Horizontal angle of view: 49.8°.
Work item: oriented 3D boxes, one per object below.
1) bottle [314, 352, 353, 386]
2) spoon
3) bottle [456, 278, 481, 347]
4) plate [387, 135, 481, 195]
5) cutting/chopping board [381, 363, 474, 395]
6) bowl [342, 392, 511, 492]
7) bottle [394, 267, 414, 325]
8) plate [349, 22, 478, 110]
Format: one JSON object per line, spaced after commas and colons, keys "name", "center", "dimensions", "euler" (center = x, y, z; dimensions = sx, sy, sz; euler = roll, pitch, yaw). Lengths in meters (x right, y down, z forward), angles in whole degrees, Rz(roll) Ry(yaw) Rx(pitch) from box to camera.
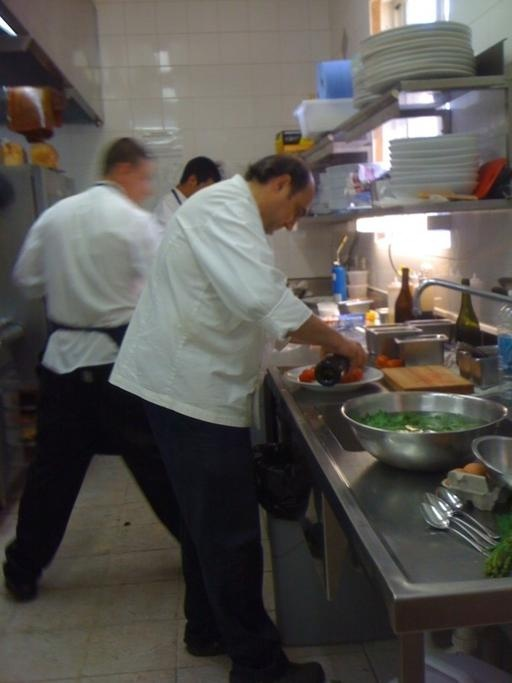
{"name": "bottle", "center": [0.206, 0.072, 1.442], "dimensions": [0.060, 0.056, 0.096], "euler": [29, 10, 14]}
{"name": "spoon", "center": [0.280, 0.243, 0.751], "dimensions": [0.076, 0.028, 0.180], "euler": [-5, 5, -9]}
{"name": "bottle", "center": [0.672, -0.092, 1.765], "dimensions": [0.076, 0.200, 0.160], "euler": [-3, 6, 19]}
{"name": "plate", "center": [0.461, -0.431, 1.444], "dimensions": [0.178, 0.112, 0.190], "euler": [3, 12, 26]}
{"name": "cutting/chopping board", "center": [0.453, 0.106, 1.483], "dimensions": [0.171, 0.040, 0.285], "euler": [-5, 5, -3]}
{"name": "bowl", "center": [0.323, 0.170, 1.036], "dimensions": [0.324, 0.097, 0.345], "euler": [-4, 5, 0]}
{"name": "bottle", "center": [0.583, -0.188, 2.201], "dimensions": [0.074, 0.210, 0.282], "euler": [-3, 5, 15]}
{"name": "plate", "center": [0.381, -0.698, 1.362], "dimensions": [0.284, 0.107, 0.264], "euler": [-11, 13, -31]}
